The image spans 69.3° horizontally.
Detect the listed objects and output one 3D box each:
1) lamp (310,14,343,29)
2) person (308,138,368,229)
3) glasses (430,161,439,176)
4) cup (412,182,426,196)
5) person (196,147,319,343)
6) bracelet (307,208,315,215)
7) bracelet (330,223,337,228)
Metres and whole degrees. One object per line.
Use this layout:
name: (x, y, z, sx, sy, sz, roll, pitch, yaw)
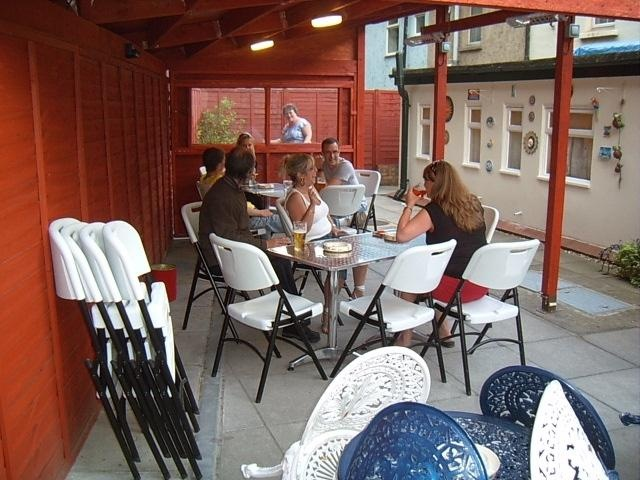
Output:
lamp: (0.067, -3.023, 6.398, 0.390, 0.088, 0.545, 0, 16, 0)
person: (0.182, -0.975, 7.754, 0.818, 1.376, 0.597, -27, 37, -23)
glasses: (1.031, -0.648, 4.228, 0.095, 0.117, 0.119, 6, 4, -1)
cup: (0.938, -0.477, 4.330, 0.117, 0.070, 0.116, -1, 15, 0)
person: (-0.675, -0.028, 5.040, 1.226, 1.861, 0.803, 2, 24, -10)
bracelet: (-0.103, -0.305, 4.918, 0.058, 0.056, 0.050, 4, 9, 23)
bracelet: (0.164, -0.171, 5.695, 0.073, 0.062, 0.055, -1, 11, 0)
